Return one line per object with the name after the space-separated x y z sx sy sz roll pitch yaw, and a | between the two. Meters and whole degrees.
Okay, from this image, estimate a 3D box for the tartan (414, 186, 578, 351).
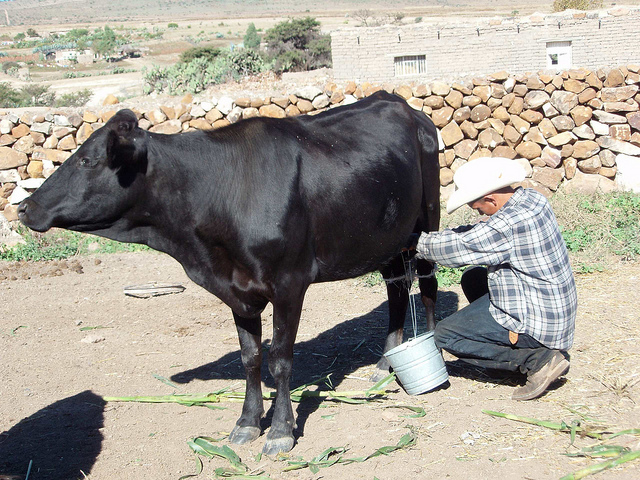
1.636 0.120 6.141 1.640 1.394 1.016 6 13 19 | tartan

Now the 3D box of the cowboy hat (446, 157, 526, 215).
1.357 -0.451 5.514 0.629 0.426 0.269 -3 16 9 | cowboy hat

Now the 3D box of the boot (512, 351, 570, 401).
1.836 1.130 5.599 0.547 0.205 0.200 -42 -10 5 | boot
